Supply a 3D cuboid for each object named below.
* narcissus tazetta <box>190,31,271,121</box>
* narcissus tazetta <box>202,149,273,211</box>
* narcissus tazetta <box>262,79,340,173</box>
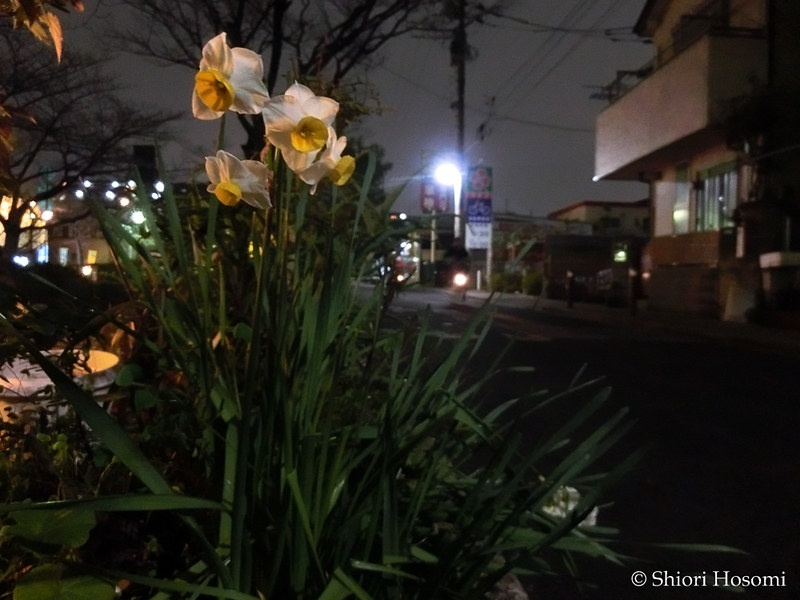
[{"bbox_3d":[-0.483,-0.631,2.030,0.210,0.261,0.191,-3,5,-18],"label":"narcissus tazetta"},{"bbox_3d":[-0.470,-0.345,2.055,0.194,0.171,0.139,-2,5,-5],"label":"narcissus tazetta"},{"bbox_3d":[-0.295,-0.490,2.072,0.231,0.136,0.224,-8,-9,-5],"label":"narcissus tazetta"}]
